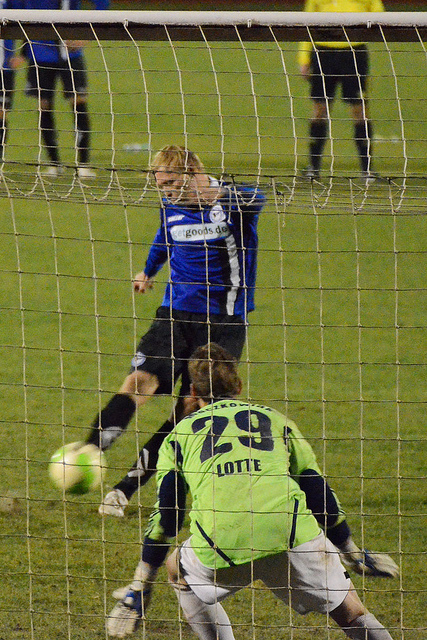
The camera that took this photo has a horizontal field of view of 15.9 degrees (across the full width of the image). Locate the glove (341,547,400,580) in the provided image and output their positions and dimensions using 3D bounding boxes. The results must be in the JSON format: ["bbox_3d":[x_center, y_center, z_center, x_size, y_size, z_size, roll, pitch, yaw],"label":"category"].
[{"bbox_3d":[0.787,1.206,7.689,0.289,0.225,0.160,-5,24,-8],"label":"glove"}]

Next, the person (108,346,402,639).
[{"bbox_3d":[0.182,0.914,7.634,1.109,1.552,0.717,-7,-8,8],"label":"person"}]

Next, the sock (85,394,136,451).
[{"bbox_3d":[-0.522,0.531,8.134,0.140,0.441,0.130,35,-15,-1],"label":"sock"}]
